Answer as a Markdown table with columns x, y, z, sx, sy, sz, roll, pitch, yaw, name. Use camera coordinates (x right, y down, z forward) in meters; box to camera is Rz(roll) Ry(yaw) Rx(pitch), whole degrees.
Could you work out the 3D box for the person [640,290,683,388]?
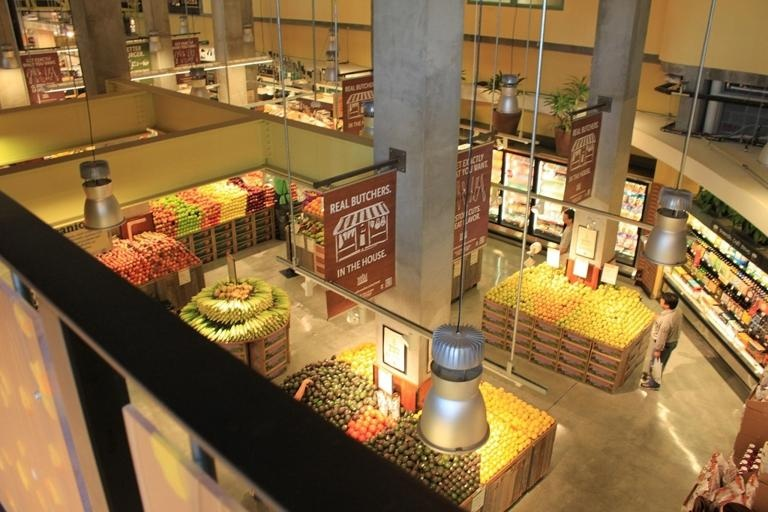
| x | y | z | sx | sy | sz | roll | pitch | yaw | name |
| --- | --- | --- | --- | --- | --- | --- | --- | --- | --- |
| 4.495 | 1.276 | 8.454 | 0.406 | 1.688 | 0.890 | 15 | 31 | 28 | person |
